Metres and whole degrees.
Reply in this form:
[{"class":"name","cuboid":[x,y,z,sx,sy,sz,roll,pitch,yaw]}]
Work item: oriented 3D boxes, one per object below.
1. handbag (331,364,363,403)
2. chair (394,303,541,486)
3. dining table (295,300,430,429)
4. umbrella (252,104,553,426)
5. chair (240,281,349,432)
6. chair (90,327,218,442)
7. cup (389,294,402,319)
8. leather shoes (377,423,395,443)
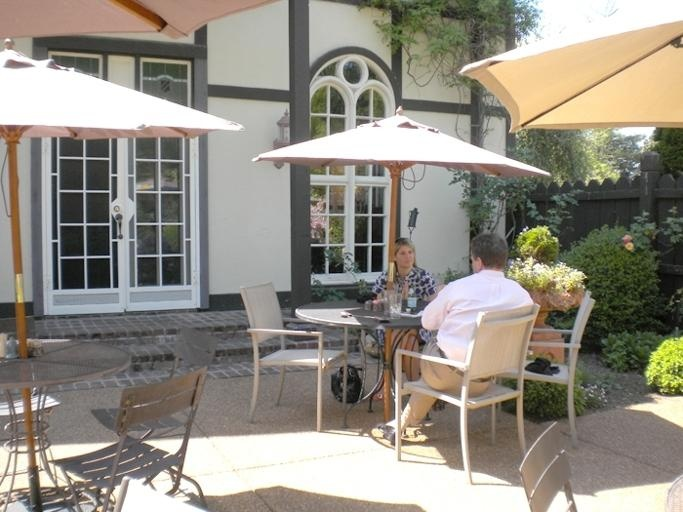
[{"class":"handbag","cuboid":[0.040,1.230,6.806,0.273,0.445,0.350,5,-9,6]},{"class":"chair","cuboid":[1.040,1.024,5.627,0.821,1.409,0.941,-5,9,-41]},{"class":"dining table","cuboid":[0.170,1.183,6.553,1.309,1.026,1.427,8,-4,26]},{"class":"umbrella","cuboid":[0.524,-0.189,7.044,2.496,2.635,2.750,2,4,6]},{"class":"chair","cuboid":[-0.441,0.900,6.563,0.862,1.346,0.878,-1,2,9]},{"class":"chair","cuboid":[-1.549,1.090,5.733,0.647,1.301,0.826,5,-9,40]},{"class":"cup","cuboid":[0.477,0.429,6.136,0.147,0.274,0.161,0,-6,0]},{"class":"leather shoes","cuboid":[0.390,1.532,5.950,0.121,0.048,0.127,28,26,14]}]
